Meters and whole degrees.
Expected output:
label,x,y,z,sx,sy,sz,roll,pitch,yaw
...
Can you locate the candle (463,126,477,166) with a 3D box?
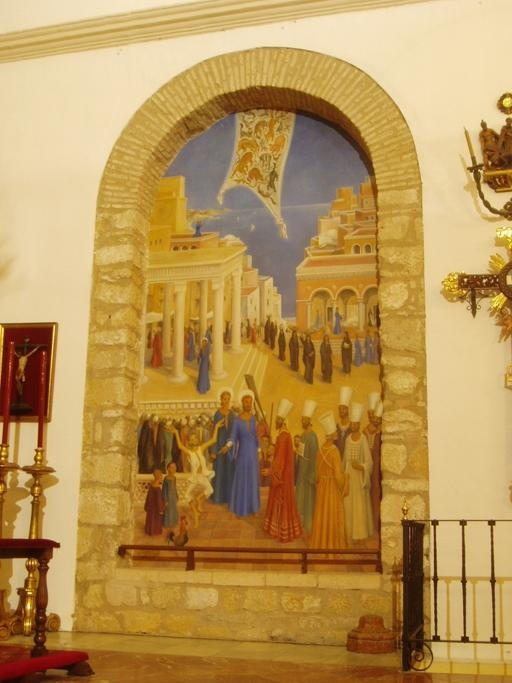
label,x,y,z,sx,sy,sz,roll,pitch,yaw
candle,1.245,-1.129,5.336,0.026,0.284,0.059,21,-29,-34
